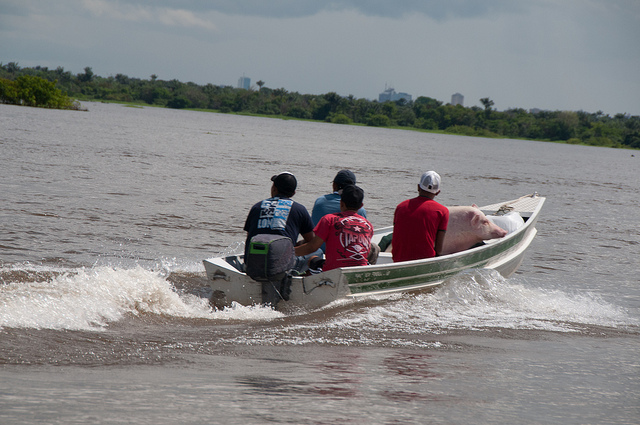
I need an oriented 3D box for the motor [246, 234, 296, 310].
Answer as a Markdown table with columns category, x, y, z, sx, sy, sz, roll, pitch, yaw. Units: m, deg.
| category | x | y | z | sx | sy | sz | roll | pitch | yaw |
| --- | --- | --- | --- | --- | --- | --- | --- | --- | --- |
| motor | -0.949 | 1.103 | 17.573 | 0.858 | 1.401 | 0.261 | 4 | 11 | -4 |
